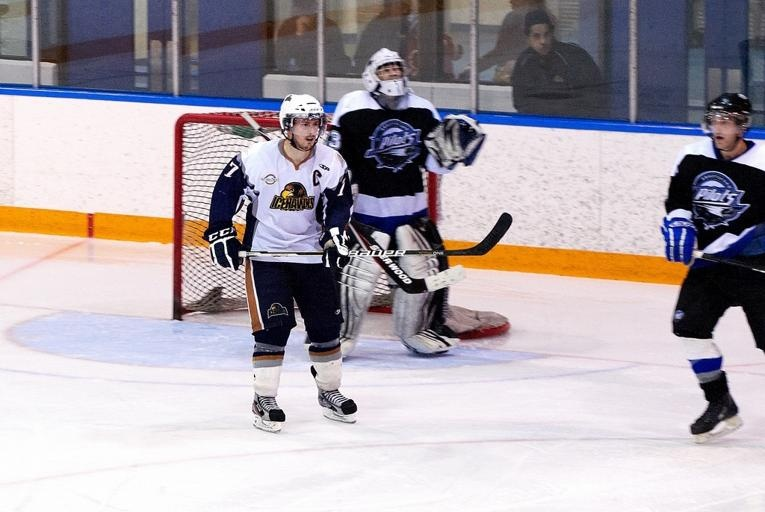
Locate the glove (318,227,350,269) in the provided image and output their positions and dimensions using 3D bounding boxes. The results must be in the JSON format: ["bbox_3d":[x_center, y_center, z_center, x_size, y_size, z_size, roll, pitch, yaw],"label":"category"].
[{"bbox_3d":[-0.220,-0.040,3.888,0.122,0.182,0.123,0,12,-3],"label":"glove"}]

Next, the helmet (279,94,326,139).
[{"bbox_3d":[-0.364,-0.637,3.881,0.197,0.190,0.144,1,12,-1],"label":"helmet"}]

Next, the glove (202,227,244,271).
[{"bbox_3d":[-0.713,-0.031,3.825,0.251,0.161,0.094,-1,12,12],"label":"glove"}]

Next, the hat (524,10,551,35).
[{"bbox_3d":[1.116,-1.687,6.189,0.227,0.106,0.195,-2,6,0],"label":"hat"}]

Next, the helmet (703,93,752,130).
[{"bbox_3d":[1.503,-0.631,3.722,0.185,0.156,0.145,3,11,13],"label":"helmet"}]

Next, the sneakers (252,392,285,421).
[{"bbox_3d":[-0.520,0.687,3.861,0.109,0.116,0.133,-4,11,-23],"label":"sneakers"}]

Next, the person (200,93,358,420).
[{"bbox_3d":[-0.444,0.029,3.865,0.660,1.513,0.429,-1,14,-7],"label":"person"}]

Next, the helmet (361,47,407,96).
[{"bbox_3d":[0.014,-1.003,4.656,0.165,0.264,0.194,-7,14,-31],"label":"helmet"}]
